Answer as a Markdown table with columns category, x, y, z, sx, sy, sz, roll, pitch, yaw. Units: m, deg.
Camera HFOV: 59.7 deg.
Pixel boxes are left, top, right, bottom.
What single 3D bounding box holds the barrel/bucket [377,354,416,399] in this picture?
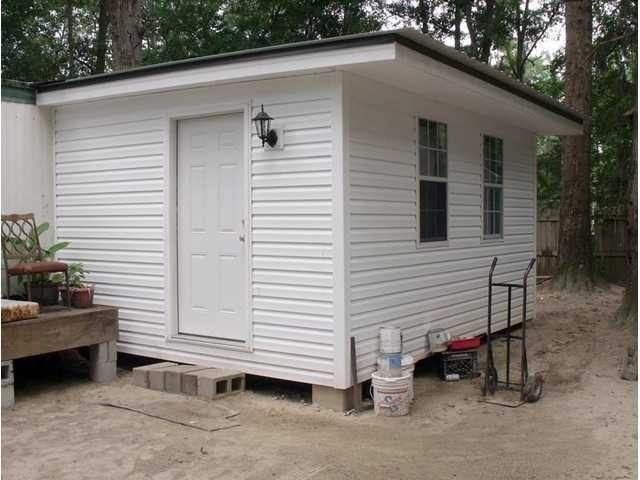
| category | x | y | z | sx | sy | sz | roll | pitch | yaw |
| --- | --- | --- | --- | --- | --- | --- | --- | --- | --- |
| barrel/bucket | 0.959 | 1.680 | 6.803 | 0.517 | 0.589 | 0.534 | 0 | -1 | 0 |

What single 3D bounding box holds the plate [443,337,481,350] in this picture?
| category | x | y | z | sx | sy | sz | roll | pitch | yaw |
| --- | --- | --- | --- | --- | --- | --- | --- | --- | --- |
| plate | 2.027 | 1.475 | 7.845 | 0.461 | 0.183 | 0.169 | -2 | 5 | -23 |

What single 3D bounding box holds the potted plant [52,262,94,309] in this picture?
| category | x | y | z | sx | sy | sz | roll | pitch | yaw |
| --- | --- | --- | --- | --- | --- | --- | --- | --- | --- |
| potted plant | -3.392 | 0.617 | 7.698 | 0.619 | 0.571 | 0.531 | 0 | 0 | 32 |

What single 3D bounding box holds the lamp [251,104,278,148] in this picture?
| category | x | y | z | sx | sy | sz | roll | pitch | yaw |
| --- | --- | --- | --- | --- | --- | --- | --- | --- | --- |
| lamp | -0.707 | -1.388 | 6.787 | 0.258 | 0.531 | 0.362 | -3 | 5 | -35 |

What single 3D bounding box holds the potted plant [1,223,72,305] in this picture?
| category | x | y | z | sx | sy | sz | roll | pitch | yaw |
| --- | --- | --- | --- | --- | --- | --- | --- | --- | --- |
| potted plant | -3.930 | 0.294 | 7.700 | 0.816 | 1.285 | 1.513 | -2 | 5 | -29 |
